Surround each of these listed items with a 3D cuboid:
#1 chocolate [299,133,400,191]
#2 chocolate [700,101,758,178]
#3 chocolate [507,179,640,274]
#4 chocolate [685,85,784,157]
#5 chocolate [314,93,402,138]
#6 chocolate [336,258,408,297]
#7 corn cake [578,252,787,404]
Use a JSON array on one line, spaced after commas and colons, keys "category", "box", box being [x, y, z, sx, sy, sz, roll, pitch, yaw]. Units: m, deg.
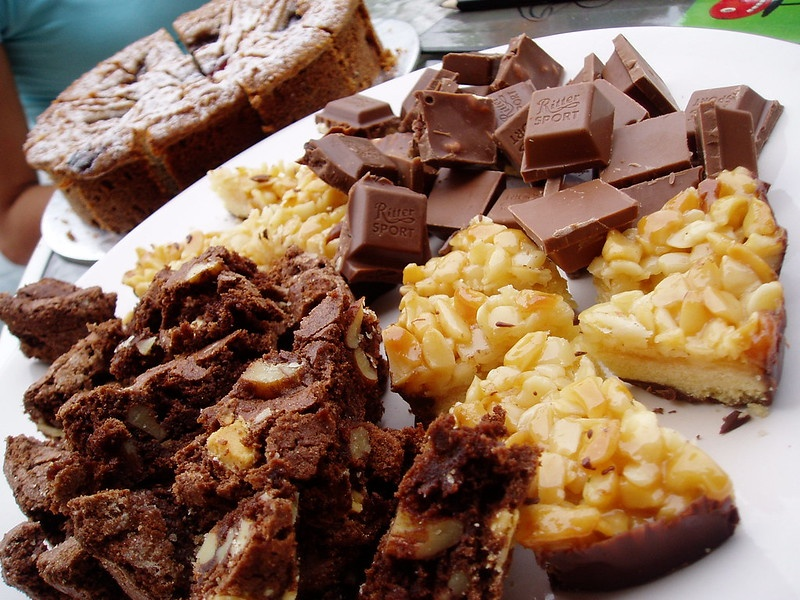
[{"category": "chocolate", "box": [-0.274, -0.672, 3.301, 0.271, 0.247, 0.077, -33, 73, -33]}, {"category": "chocolate", "box": [1.263, -0.611, 2.856, 0.236, 0.264, 0.247, 4, 46, 20]}, {"category": "chocolate", "box": [0.656, -0.325, 2.822, 0.434, 0.198, 0.334, -26, 45, -1]}, {"category": "chocolate", "box": [1.409, -0.778, 3.100, 0.383, 0.162, 0.361, -31, 29, 1]}, {"category": "chocolate", "box": [-0.218, -0.925, 3.671, 0.322, 0.138, 0.322, 27, 41, 29]}, {"category": "chocolate", "box": [-0.119, -0.094, 3.084, 0.207, 0.185, 0.047, -3, 67, 3]}, {"category": "corn cake", "box": [0.996, 0.116, 2.544, 0.591, 0.244, 0.551, -25, 42, 8]}]
